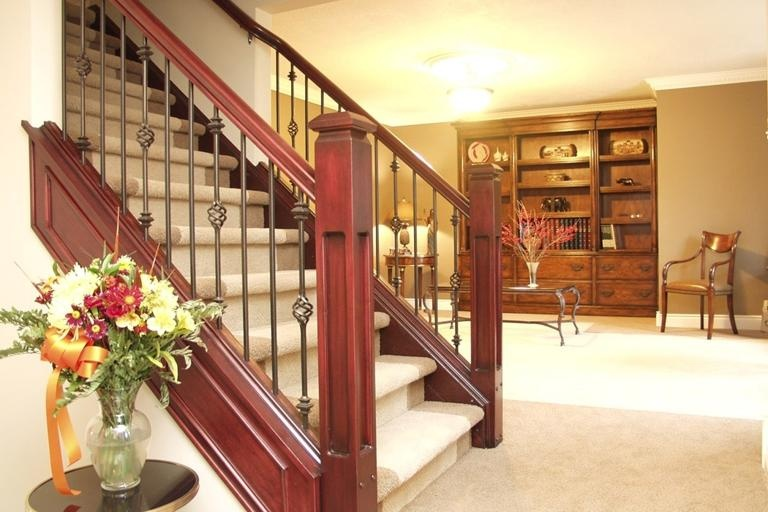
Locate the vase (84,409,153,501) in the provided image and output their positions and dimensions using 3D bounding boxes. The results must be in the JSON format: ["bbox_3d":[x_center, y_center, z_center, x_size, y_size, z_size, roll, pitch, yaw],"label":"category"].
[{"bbox_3d":[-1.021,0.726,2.205,0.217,0.301,0.171,-4,6,-28],"label":"vase"}]

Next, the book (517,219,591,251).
[{"bbox_3d":[2.269,-0.299,7.953,0.976,0.545,0.897,1,10,3],"label":"book"}]

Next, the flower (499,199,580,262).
[{"bbox_3d":[2.079,-0.343,8.102,0.941,1.087,0.956,3,1,-19],"label":"flower"}]

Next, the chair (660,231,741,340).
[{"bbox_3d":[3.782,0.304,6.882,0.809,1.193,1.235,3,6,32],"label":"chair"}]

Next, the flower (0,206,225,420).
[{"bbox_3d":[-0.982,0.125,2.377,0.766,0.785,0.786,5,5,32],"label":"flower"}]
